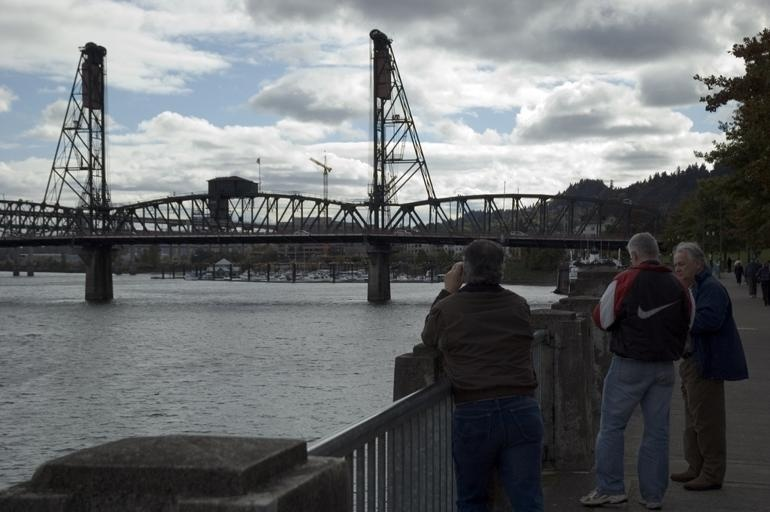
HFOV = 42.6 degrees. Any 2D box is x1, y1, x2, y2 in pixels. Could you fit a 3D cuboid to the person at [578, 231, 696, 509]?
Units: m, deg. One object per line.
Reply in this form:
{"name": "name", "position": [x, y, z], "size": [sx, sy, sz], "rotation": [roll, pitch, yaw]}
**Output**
{"name": "person", "position": [3.208, 1.365, 12.205], "size": [1.569, 3.091, 1.148], "rotation": [1, -1, -39]}
